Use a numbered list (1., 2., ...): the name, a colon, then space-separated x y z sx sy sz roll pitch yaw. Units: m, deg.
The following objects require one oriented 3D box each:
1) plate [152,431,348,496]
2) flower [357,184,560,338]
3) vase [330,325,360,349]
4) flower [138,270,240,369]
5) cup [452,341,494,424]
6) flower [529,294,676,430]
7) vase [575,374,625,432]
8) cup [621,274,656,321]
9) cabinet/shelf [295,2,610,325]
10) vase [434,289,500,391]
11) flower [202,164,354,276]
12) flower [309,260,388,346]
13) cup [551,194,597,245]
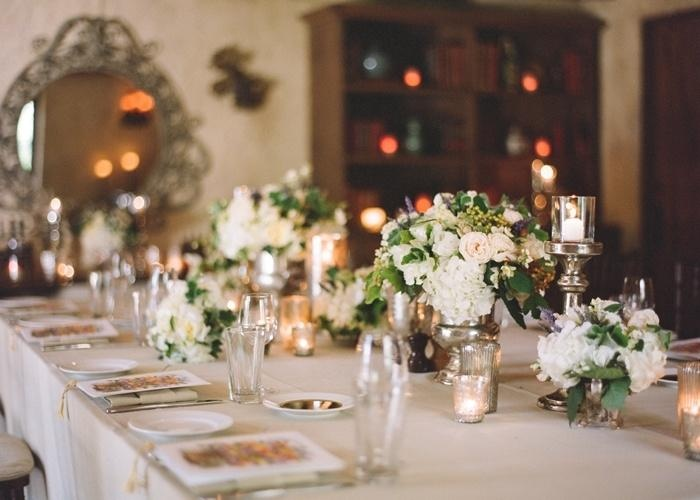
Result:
1. plate: -0.197 0.442 1.531 0.382 0.054 0.197 -2 11 -21
2. flower: 0.295 0.028 2.059 0.426 0.327 0.439 4 4 42
3. vase: -0.016 0.308 2.627 0.082 0.040 0.082 3 -4 -17
4. flower: -0.504 0.231 2.350 0.225 0.273 0.266 13 -31 -9
5. cup: 0.292 0.337 1.899 0.124 0.199 0.121 6 -5 1
6. flower: 0.636 0.298 1.932 0.308 0.305 0.313 1 -10 -5
7. vase: 0.613 0.380 1.828 0.072 0.135 0.132 -1 2 23
8. cup: 0.948 0.153 2.431 0.090 0.144 0.099 12 12 -2
9. cabinet/shelf: 0.504 -0.571 3.828 1.909 1.898 0.507 0 -1 -14
10. vase: 0.334 0.256 2.194 0.168 0.251 0.164 -1 7 -11
11. flower: -0.323 -0.125 3.266 0.593 0.457 0.292 0 11 -13
12. flower: -0.015 0.196 2.638 0.257 0.297 0.277 2 -6 -17
13. cup: 0.602 -0.079 1.998 0.121 0.141 0.124 0 -2 0
